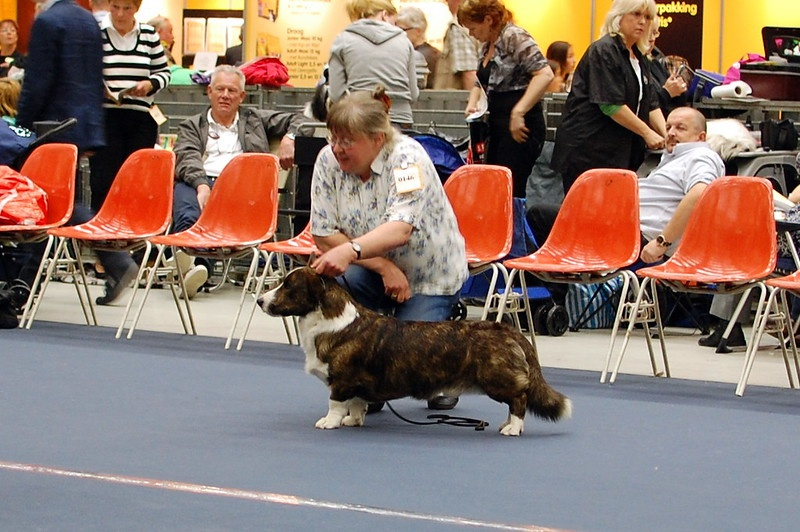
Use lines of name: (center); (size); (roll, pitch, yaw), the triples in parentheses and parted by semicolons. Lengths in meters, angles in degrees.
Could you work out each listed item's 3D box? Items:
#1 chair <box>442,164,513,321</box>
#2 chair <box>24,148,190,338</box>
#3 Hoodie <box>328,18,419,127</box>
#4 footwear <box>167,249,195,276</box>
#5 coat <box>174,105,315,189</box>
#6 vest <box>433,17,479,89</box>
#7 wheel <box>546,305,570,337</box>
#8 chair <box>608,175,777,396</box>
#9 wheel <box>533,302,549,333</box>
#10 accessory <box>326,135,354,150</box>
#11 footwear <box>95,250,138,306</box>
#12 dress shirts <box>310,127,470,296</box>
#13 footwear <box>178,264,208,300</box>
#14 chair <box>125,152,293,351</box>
chair: (0.500, -0.300, 5.347); (0.495, 0.555, 0.481); (5, 17, -9)
chair: (-1.969, -0.186, 5.914); (0.893, 1.219, 0.819); (9, 11, 27)
Hoodie: (-0.198, -1.393, 6.434); (0.655, 0.822, 0.551); (-2, -4, -20)
footwear: (-1.718, -0.023, 6.750); (0.157, 0.202, 0.176); (11, -16, 4)
coat: (-1.521, -1.084, 7.655); (1.454, 0.729, 0.503); (-14, 3, -34)
vest: (0.533, -2.116, 8.616); (0.505, 0.682, 0.310); (8, 9, 42)
wheel: (1.183, 0.414, 6.485); (0.223, 0.218, 0.070); (-6, 13, -39)
chair: (1.713, 0.087, 4.862); (0.873, 1.226, 0.981); (4, 5, 26)
wheel: (1.054, 0.378, 6.431); (0.211, 0.213, 0.075); (-5, 11, -30)
accessory: (-0.273, -0.553, 3.830); (0.082, 0.088, 0.154); (-4, 9, -41)
footwear: (-2.184, 0.097, 6.647); (0.289, 0.424, 0.143); (41, 46, -1)
dress shirts: (-0.077, -0.253, 4.170); (0.694, 0.811, 0.639); (-1, 8, 15)
footwear: (-1.741, 0.128, 7.204); (0.122, 0.336, 0.131); (6, 46, -33)
chair: (-1.271, -0.124, 5.670); (0.892, 1.236, 0.975); (6, 6, -1)
